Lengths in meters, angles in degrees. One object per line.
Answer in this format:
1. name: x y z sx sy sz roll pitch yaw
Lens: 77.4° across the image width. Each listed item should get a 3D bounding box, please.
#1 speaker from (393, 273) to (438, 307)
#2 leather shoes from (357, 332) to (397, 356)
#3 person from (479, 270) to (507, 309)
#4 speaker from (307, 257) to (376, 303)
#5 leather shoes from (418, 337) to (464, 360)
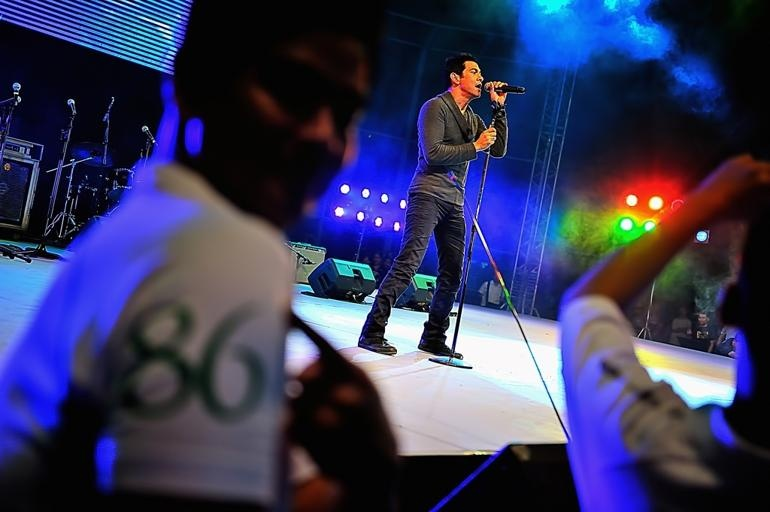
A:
1. speaker: 0.486 0.503 6.699 0.437 0.490 0.651 14 -3 33
2. leather shoes: -0.047 0.510 2.846 0.210 0.085 0.106 6 -1 24
3. person: 2.249 0.660 10.106 0.673 0.803 0.558 -6 22 -18
4. speaker: -0.568 0.318 6.316 0.727 0.508 0.719 11 -8 -36
5. leather shoes: 0.382 0.582 3.057 0.325 0.130 0.111 13 -2 -3
